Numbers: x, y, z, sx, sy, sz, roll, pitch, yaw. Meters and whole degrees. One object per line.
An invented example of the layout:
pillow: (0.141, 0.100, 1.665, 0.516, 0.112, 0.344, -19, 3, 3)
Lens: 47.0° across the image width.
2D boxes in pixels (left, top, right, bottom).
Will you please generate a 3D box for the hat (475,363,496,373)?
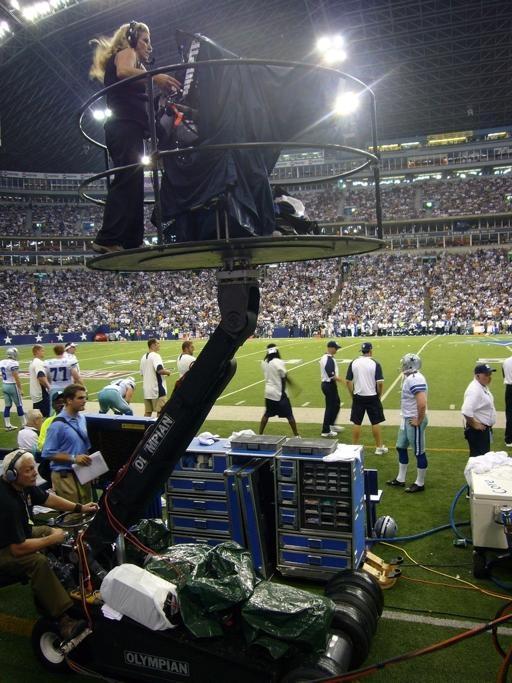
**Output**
hat: (2.723, 0.336, 7.054, 0.190, 0.097, 0.280, -1, 3, 17)

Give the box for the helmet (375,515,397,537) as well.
helmet: (1.384, 1.971, 6.291, 0.187, 0.208, 0.222, 6, 20, 12)

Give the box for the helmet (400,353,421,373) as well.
helmet: (2.030, 0.291, 7.764, 0.298, 0.256, 0.227, 2, 4, 33)

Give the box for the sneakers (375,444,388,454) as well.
sneakers: (2.000, 1.723, 9.355, 0.265, 0.096, 0.096, -2, 19, 0)

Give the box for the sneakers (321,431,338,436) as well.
sneakers: (1.323, 1.675, 10.616, 0.287, 0.102, 0.107, -1, 4, 7)

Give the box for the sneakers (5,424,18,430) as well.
sneakers: (-5.224, 1.838, 12.539, 0.108, 0.124, 0.303, 5, 10, 27)

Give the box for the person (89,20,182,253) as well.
person: (-0.826, -1.366, 3.823, 0.577, 1.618, 0.727, -2, 3, 7)

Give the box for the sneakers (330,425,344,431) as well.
sneakers: (1.557, 1.681, 11.371, 0.109, 0.108, 0.282, 1, -8, -34)

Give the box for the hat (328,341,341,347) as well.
hat: (1.367, 0.073, 10.114, 0.244, 0.125, 0.156, -3, 4, -4)

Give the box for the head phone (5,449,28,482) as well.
head phone: (-1.793, 0.937, 4.397, 0.093, 0.184, 0.217, 8, -6, 1)

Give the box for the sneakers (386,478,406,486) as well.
sneakers: (1.859, 1.913, 7.941, 0.274, 0.111, 0.099, 3, -1, 31)

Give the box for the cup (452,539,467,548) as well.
cup: (2.102, 2.080, 6.047, 0.111, 0.091, 0.079, 0, -1, 17)

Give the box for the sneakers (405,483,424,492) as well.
sneakers: (2.072, 1.900, 7.650, 0.278, 0.096, 0.097, 8, -15, -37)

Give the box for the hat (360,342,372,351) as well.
hat: (1.681, 0.109, 9.009, 0.153, 0.160, 0.318, -1, 3, 10)
